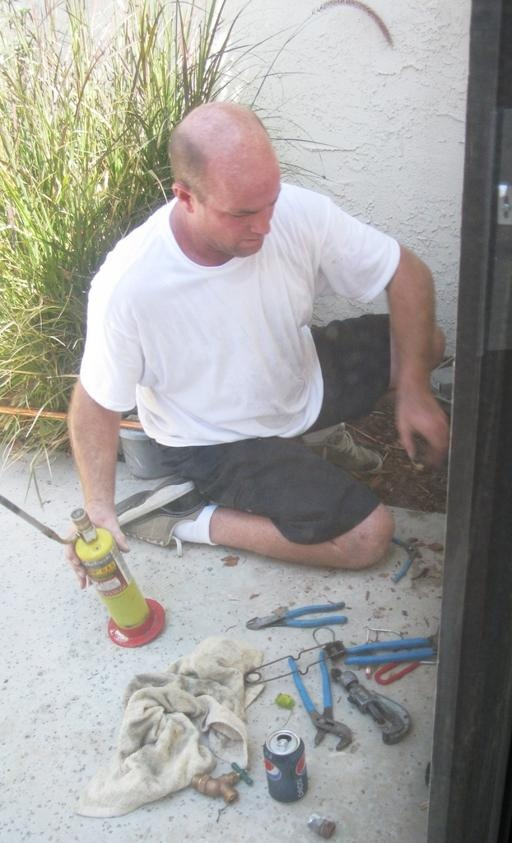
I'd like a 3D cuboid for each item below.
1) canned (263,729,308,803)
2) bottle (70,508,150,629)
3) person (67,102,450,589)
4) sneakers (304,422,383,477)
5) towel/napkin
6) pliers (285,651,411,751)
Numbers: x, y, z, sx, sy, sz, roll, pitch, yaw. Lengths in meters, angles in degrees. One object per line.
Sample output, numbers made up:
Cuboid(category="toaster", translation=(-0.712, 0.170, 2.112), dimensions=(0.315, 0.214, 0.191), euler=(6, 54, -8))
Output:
Cuboid(category="canned", translation=(0.078, 0.725, 1.518), dimensions=(0.111, 0.208, 0.060), euler=(-27, 38, -29))
Cuboid(category="bottle", translation=(-0.395, 0.396, 1.896), dimensions=(0.114, 0.494, 0.146), euler=(-1, 33, 9))
Cuboid(category="person", translation=(-0.012, -0.177, 2.294), dimensions=(1.021, 1.428, 0.901), euler=(3, 21, -2))
Cuboid(category="sneakers", translation=(0.290, 0.085, 2.469), dimensions=(0.326, 0.134, 0.107), euler=(8, 32, 4))
Cuboid(category="towel/napkin", translation=(-0.183, 0.731, 1.727), dimensions=(0.323, 0.096, 0.319), euler=(-12, 27, 10))
Cuboid(category="pliers", translation=(0.182, 0.676, 1.740), dimensions=(0.197, 0.078, 0.368), euler=(-27, 38, -30))
